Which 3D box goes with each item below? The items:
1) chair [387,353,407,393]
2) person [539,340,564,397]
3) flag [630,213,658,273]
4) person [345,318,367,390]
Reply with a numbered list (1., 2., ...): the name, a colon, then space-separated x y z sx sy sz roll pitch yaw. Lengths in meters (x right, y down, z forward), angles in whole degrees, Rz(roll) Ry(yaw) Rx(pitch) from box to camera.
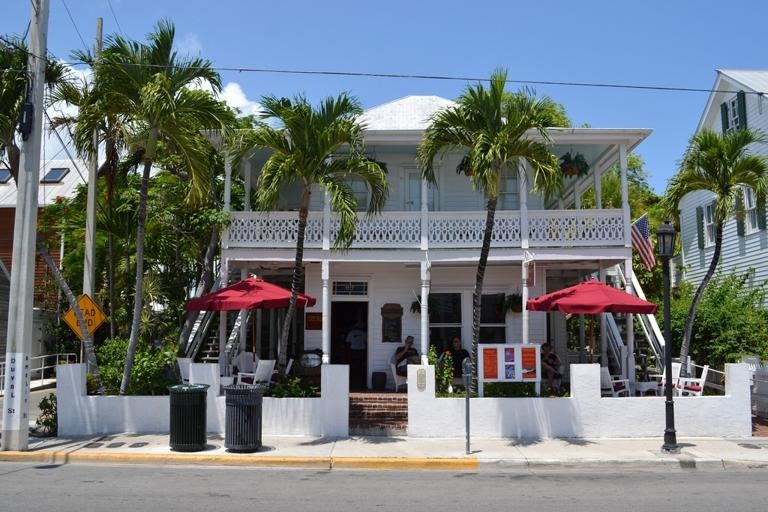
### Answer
1. chair: 0.442 3.486 27.320 0.779 1.055 0.899 1 -20 -1
2. person: 4.850 3.465 26.158 0.625 1.586 1.521 -2 -34 8
3. flag: 8.139 -0.553 28.360 0.591 2.016 2.236 -4 -12 17
4. person: -0.942 3.188 29.632 0.597 2.229 0.998 4 -12 -22
